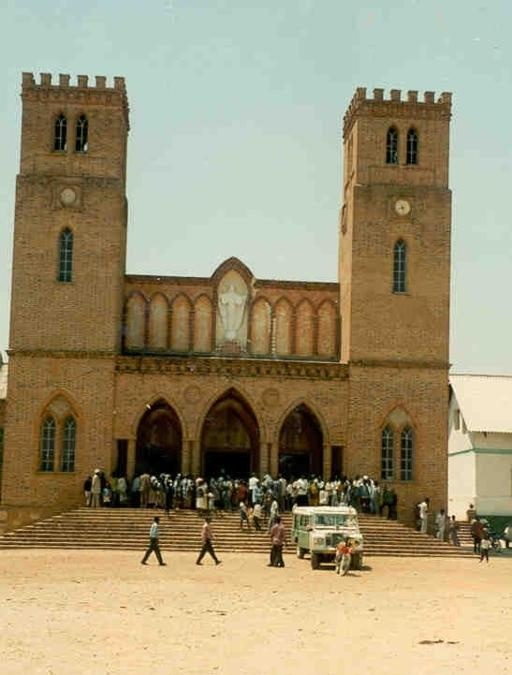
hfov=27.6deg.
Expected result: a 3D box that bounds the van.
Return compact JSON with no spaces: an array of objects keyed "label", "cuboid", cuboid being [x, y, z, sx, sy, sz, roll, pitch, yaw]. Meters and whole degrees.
[{"label":"van","cuboid":[1.815,4.914,26.391,1.050,1.049,2.156,2,-14,-10]}]
